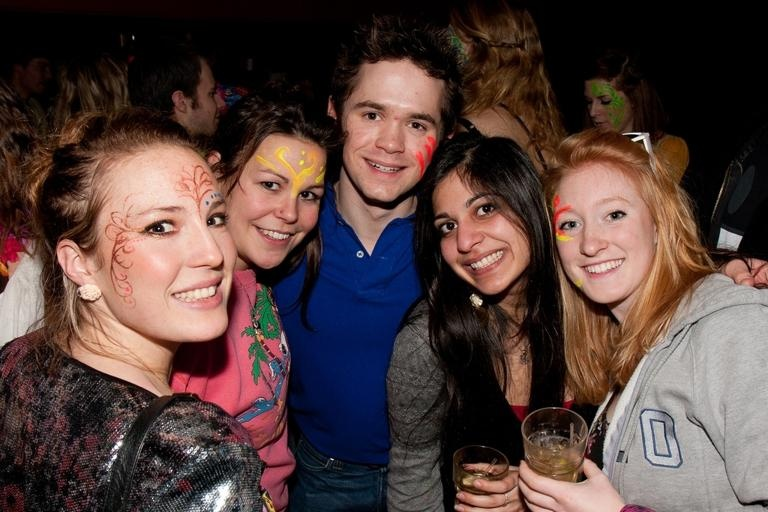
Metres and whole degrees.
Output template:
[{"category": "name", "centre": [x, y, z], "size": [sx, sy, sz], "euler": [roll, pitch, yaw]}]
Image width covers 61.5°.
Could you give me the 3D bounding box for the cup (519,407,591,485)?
[{"category": "cup", "centre": [0.850, 0.965, 3.189], "size": [0.278, 0.451, 0.279], "euler": [-6, 29, 3]}]

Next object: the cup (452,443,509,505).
[{"category": "cup", "centre": [0.519, 1.164, 3.433], "size": [0.268, 0.196, 0.249], "euler": [3, 6, 0]}]
